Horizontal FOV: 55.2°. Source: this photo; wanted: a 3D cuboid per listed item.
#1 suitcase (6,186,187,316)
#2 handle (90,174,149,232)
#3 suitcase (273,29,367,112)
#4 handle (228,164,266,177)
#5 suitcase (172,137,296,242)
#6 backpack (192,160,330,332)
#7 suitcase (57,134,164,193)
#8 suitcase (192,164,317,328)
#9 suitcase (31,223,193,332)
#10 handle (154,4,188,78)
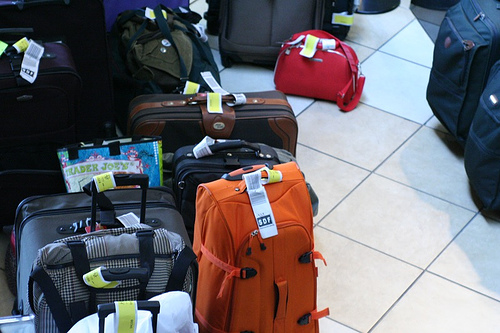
[{"bbox_3d":[-0.526,0.248,1.666,0.528,0.409,0.393,-6,48,-11],"label":"suitcase"},{"bbox_3d":[-0.392,0.149,1.469,0.198,0.157,0.253,-2,89,-9],"label":"handle"},{"bbox_3d":[0.431,-0.600,2.866,0.519,0.402,0.288,15,35,14],"label":"suitcase"},{"bbox_3d":[-0.005,0.014,1.656,0.088,0.024,0.018,-13,43,-28],"label":"handle"},{"bbox_3d":[-0.072,0.101,2.008,0.434,0.491,0.260,-3,31,-4],"label":"suitcase"},{"bbox_3d":[0.016,0.282,1.641,0.418,0.581,0.366,-12,33,-22],"label":"backpack"},{"bbox_3d":[-0.476,-0.006,1.648,0.189,0.192,0.077,-8,38,-10],"label":"suitcase"},{"bbox_3d":[0.014,0.285,1.616,0.337,0.521,0.303,-13,36,-21],"label":"suitcase"},{"bbox_3d":[-0.393,0.310,1.425,0.420,0.408,0.255,-3,42,-15],"label":"suitcase"},{"bbox_3d":[-0.426,-0.674,2.537,0.081,0.278,0.376,-13,91,1],"label":"handle"}]
